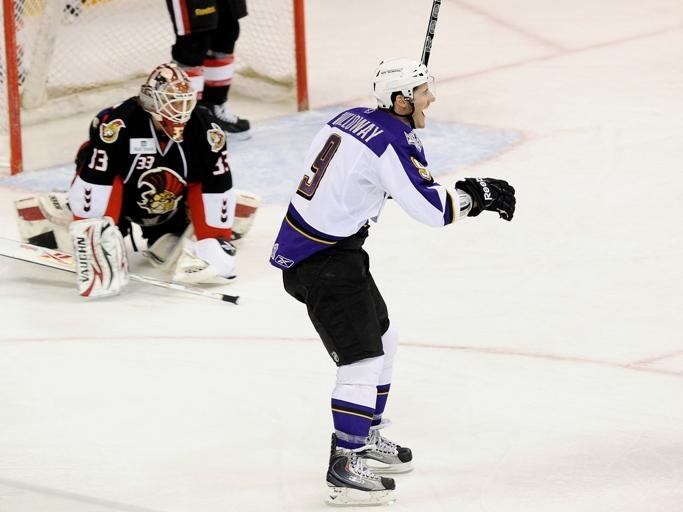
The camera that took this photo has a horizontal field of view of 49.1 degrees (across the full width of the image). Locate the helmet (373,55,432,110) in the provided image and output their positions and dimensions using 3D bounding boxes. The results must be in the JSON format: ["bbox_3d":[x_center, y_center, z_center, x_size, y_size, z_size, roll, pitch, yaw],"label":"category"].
[{"bbox_3d":[0.167,-0.572,2.495,0.230,0.159,0.141,-6,19,0],"label":"helmet"}]

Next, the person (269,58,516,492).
[{"bbox_3d":[0.138,0.055,2.437,0.688,1.386,0.520,6,12,-13],"label":"person"}]

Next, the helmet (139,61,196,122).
[{"bbox_3d":[-0.794,-0.757,3.473,0.272,0.277,0.250,10,11,16],"label":"helmet"}]

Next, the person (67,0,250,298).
[{"bbox_3d":[-0.878,-0.361,3.637,0.827,1.110,0.433,5,12,-15],"label":"person"}]
